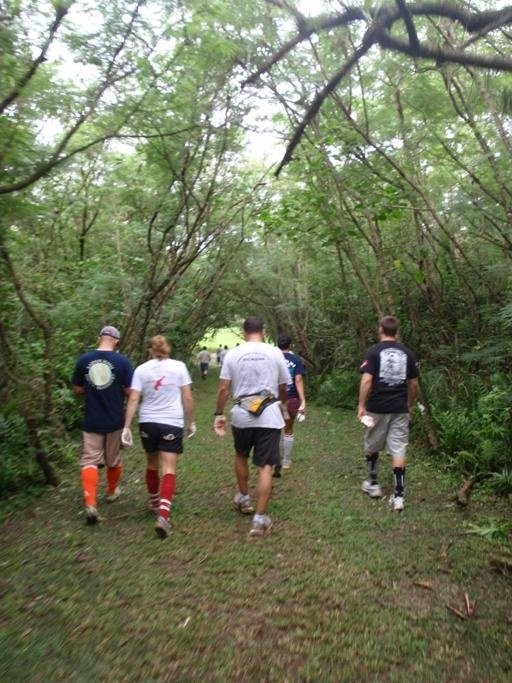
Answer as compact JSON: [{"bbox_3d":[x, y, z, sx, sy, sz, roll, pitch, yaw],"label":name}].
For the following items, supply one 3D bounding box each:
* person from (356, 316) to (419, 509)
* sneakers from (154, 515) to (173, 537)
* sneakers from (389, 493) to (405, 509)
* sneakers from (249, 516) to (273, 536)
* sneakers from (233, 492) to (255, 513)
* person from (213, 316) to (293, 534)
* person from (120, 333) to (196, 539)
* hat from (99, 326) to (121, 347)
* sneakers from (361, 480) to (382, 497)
[{"bbox_3d":[1.388,0.717,5.122,0.546,1.875,0.531,0,0,24],"label":"person"},{"bbox_3d":[-0.787,1.627,4.233,0.098,0.111,0.252,-2,-35,7],"label":"sneakers"},{"bbox_3d":[1.438,1.619,4.954,0.155,0.170,0.312,0,0,15],"label":"sneakers"},{"bbox_3d":[0.047,1.618,4.255,0.102,0.123,0.285,-1,-6,17],"label":"sneakers"},{"bbox_3d":[-0.127,1.620,4.891,0.123,0.140,0.297,1,3,-15],"label":"sneakers"},{"bbox_3d":[-0.019,0.753,4.529,0.569,1.933,0.518,0,0,37],"label":"person"},{"bbox_3d":[-0.944,0.835,4.646,0.702,1.896,1.086,0,0,-9],"label":"person"},{"bbox_3d":[-1.514,-0.054,5.032,0.175,0.115,0.231,5,12,-10],"label":"hat"},{"bbox_3d":[1.288,1.625,5.377,0.114,0.114,0.258,1,6,-10],"label":"sneakers"}]
